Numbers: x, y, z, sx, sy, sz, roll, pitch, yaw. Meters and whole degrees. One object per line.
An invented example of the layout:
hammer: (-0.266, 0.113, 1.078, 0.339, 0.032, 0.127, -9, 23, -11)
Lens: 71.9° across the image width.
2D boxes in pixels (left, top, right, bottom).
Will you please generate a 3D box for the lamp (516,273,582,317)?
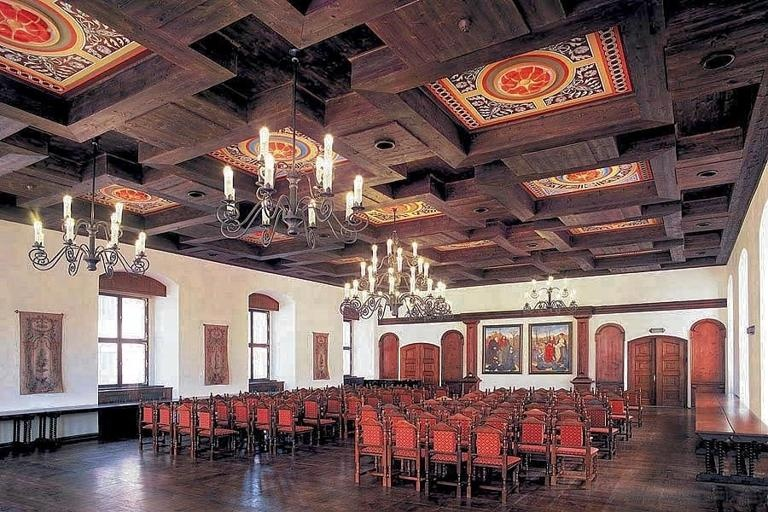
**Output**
lamp: (6.631, 1.418, 21.273, 2.174, 1.465, 2.032, 7, -10, -21)
